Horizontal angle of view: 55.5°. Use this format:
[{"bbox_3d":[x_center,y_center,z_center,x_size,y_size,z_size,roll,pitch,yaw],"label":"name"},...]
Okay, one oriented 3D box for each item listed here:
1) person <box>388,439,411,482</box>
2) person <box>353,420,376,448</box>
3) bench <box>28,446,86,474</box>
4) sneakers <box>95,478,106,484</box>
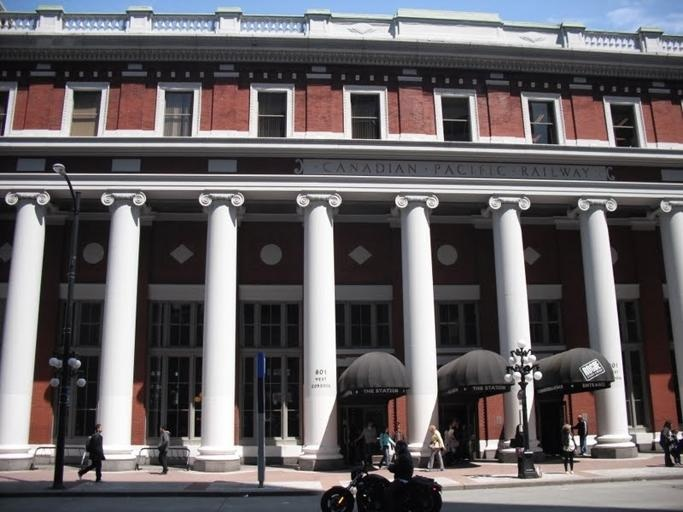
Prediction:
[{"bbox_3d":[1.655,5.628,17.939,0.579,1.062,0.476,-15,-21,38],"label":"person"},{"bbox_3d":[1.089,8.205,29.940,0.880,1.118,2.347,0,-17,-5],"label":"person"},{"bbox_3d":[-12.792,9.081,29.526,1.810,0.790,1.862,3,-7,-5],"label":"bench"},{"bbox_3d":[-8.999,8.399,24.289,0.263,0.267,0.159,6,-16,8],"label":"sneakers"}]
